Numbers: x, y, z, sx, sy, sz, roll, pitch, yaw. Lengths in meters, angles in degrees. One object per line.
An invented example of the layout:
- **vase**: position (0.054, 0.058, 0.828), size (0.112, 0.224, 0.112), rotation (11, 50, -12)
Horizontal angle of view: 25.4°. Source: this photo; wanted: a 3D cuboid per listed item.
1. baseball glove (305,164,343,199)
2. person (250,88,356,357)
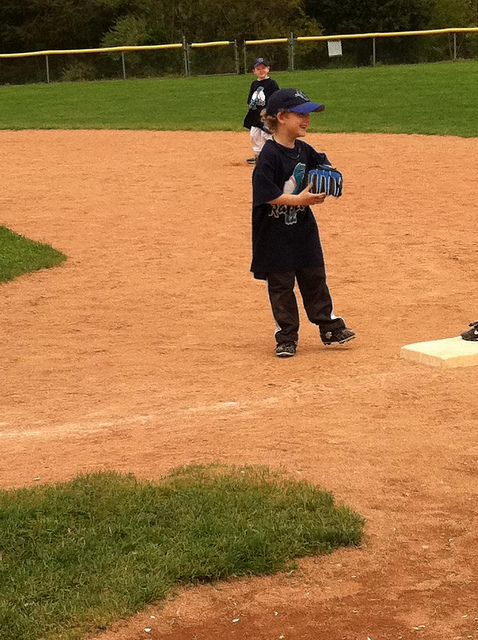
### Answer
- **baseball glove**: position (0.557, -0.891, 6.889), size (0.207, 0.197, 0.168), rotation (0, 9, 12)
- **person**: position (0.409, -0.617, 7.128), size (0.691, 1.795, 0.795), rotation (-1, 9, 6)
